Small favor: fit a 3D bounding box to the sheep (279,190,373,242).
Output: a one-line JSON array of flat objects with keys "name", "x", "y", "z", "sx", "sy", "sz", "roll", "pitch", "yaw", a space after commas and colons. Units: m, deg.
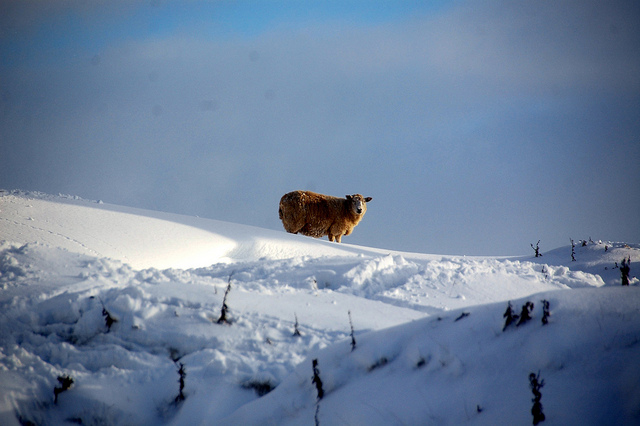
[{"name": "sheep", "x": 0.474, "y": 0.216, "z": 27.075, "sx": 3.186, "sy": 2.374, "sz": 1.316, "roll": 4, "pitch": 3, "yaw": -23}]
